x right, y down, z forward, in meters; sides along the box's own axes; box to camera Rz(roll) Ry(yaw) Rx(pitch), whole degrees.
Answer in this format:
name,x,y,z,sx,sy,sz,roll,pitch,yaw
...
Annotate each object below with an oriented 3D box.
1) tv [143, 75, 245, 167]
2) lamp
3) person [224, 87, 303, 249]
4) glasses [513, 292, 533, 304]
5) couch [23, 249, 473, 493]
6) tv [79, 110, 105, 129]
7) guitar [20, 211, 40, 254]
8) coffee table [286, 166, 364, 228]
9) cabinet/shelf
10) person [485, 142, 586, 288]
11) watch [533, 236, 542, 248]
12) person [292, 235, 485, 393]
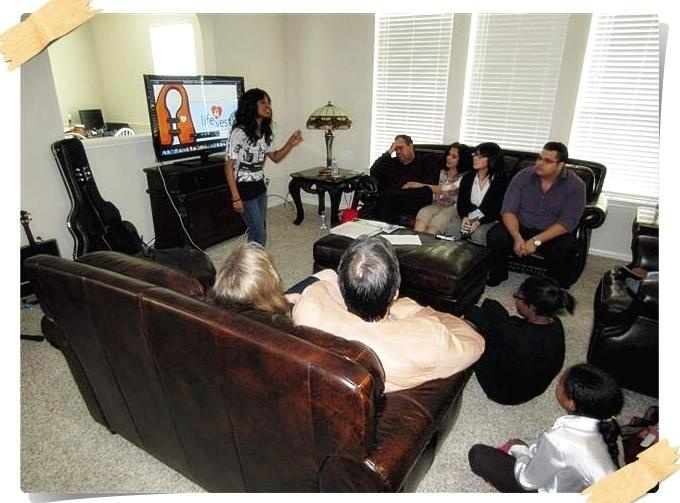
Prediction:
name,x,y,z,sx,sy,sz,roll,pitch,yaw
tv,-1.246,-1.117,3.976,0.125,0.667,0.941,23,25,32
lamp,-0.070,-1.208,4.876,0.424,0.709,0.549,2,23,9
person,-0.631,-0.648,3.662,0.242,1.207,0.582,16,29,37
glasses,0.949,0.231,2.385,0.063,0.017,0.062,23,5,12
couch,-0.445,0.542,1.956,1.637,0.993,0.395,8,25,22
tv,-3.691,-1.965,6.911,0.038,0.357,0.354,-5,16,35
guitar,-2.200,-0.167,3.296,0.069,0.264,0.270,-17,27,-31
coffee table,-0.099,-0.698,4.819,0.751,0.570,0.663,15,25,36
cabinet/shelf,-1.284,-0.445,4.024,0.277,0.655,0.714,12,27,24
person,1.566,-0.258,3.650,0.642,1.200,0.635,19,40,34
watch,1.473,-0.070,3.473,0.057,0.079,0.041,-6,-12,3
person,0.273,0.284,2.099,0.550,0.764,0.426,29,66,17
